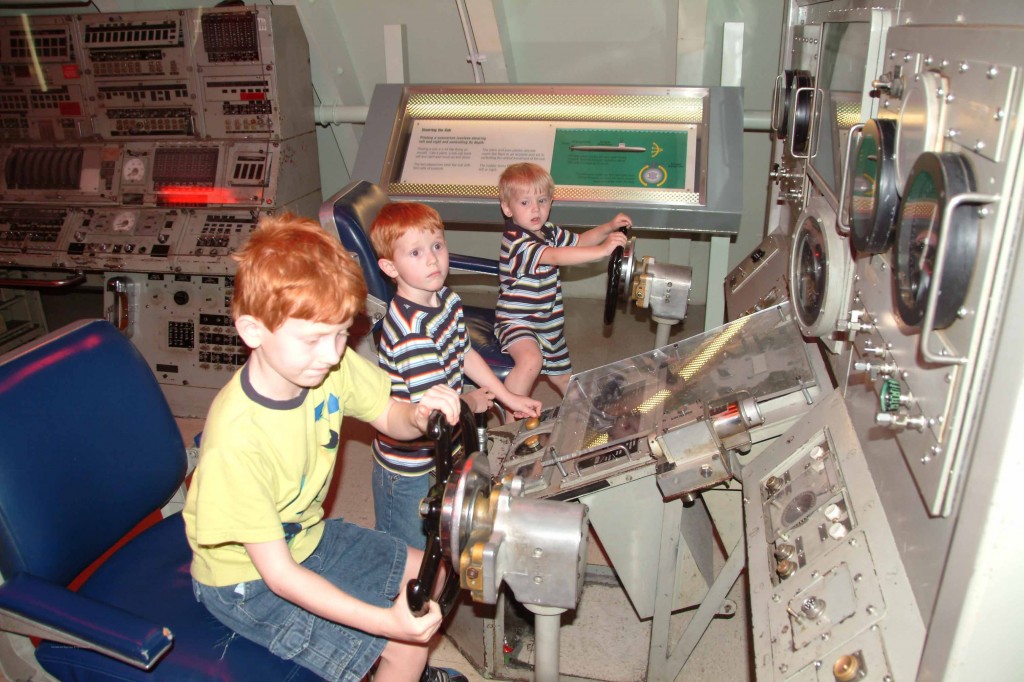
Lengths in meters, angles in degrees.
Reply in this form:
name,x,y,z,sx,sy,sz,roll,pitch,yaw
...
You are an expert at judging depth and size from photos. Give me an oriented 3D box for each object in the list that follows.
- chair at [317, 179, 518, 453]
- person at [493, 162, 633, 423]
name,x,y,z,sx,sy,sz,roll,pitch,yaw
chair,-0.483,-0.239,2.882,0.983,1.081,0.788,4,39,5
person,0.214,-0.121,3.055,0.641,1.223,0.647,1,16,18
